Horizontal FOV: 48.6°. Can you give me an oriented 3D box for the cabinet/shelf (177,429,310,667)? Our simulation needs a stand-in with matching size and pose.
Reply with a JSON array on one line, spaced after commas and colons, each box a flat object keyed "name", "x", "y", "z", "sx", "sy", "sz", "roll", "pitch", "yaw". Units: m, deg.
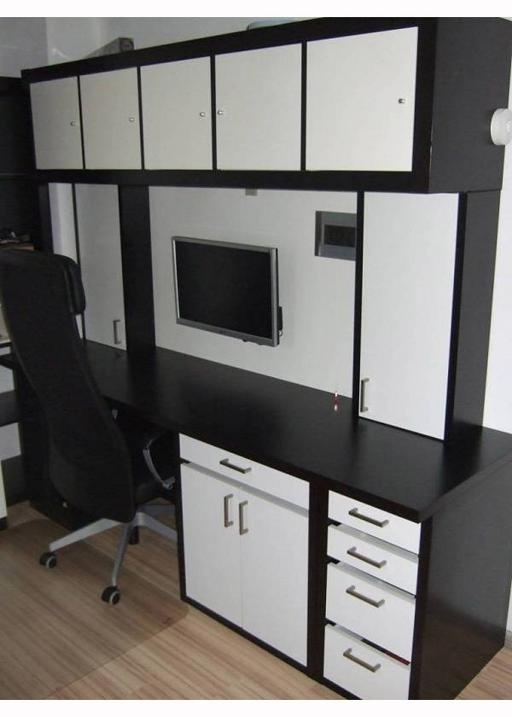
[{"name": "cabinet/shelf", "x": -0.032, "y": 0.708, "z": 2.139, "sx": 0.505, "sy": 0.741, "sz": 0.330, "roll": 16, "pitch": 24, "yaw": 37}]

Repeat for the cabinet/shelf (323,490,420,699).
[{"name": "cabinet/shelf", "x": 0.361, "y": 0.801, "z": 1.818, "sx": 0.083, "sy": 0.739, "sz": 0.348, "roll": -10, "pitch": 15, "yaw": -39}]
